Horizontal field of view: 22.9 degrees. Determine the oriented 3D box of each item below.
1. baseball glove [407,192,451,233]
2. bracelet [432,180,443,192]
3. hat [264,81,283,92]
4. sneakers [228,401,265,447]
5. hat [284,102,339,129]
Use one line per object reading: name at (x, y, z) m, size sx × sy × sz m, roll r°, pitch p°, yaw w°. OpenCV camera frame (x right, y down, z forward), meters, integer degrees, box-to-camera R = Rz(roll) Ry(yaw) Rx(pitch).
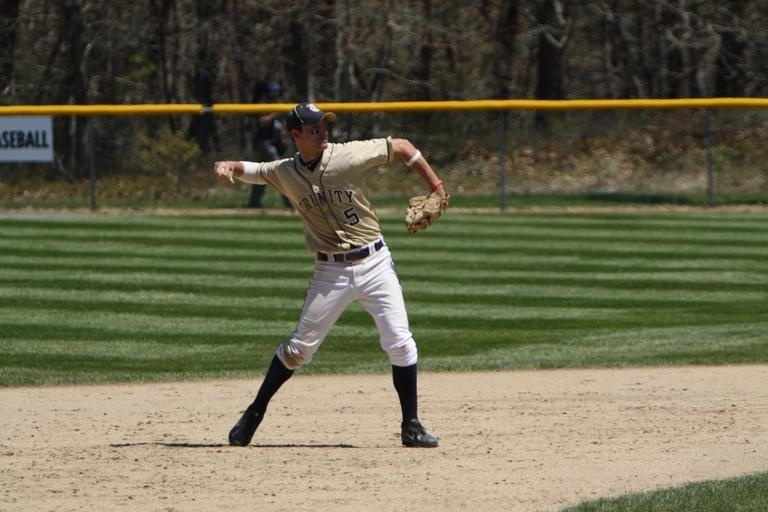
baseball glove at (0.490, -0.549, 24.000) m, size 0.446 × 0.542 × 0.248 m, roll 3°, pitch 43°, yaw -32°
bracelet at (0.678, -0.892, 24.030) m, size 0.124 × 0.054 × 0.138 m, roll -28°, pitch 19°, yaw 53°
hat at (-1.778, -2.731, 30.382) m, size 0.299 × 0.148 × 0.302 m, roll 11°, pitch 13°, yaw 41°
sneakers at (-1.764, 2.191, 24.110) m, size 0.282 × 0.686 × 0.294 m, roll 39°, pitch -2°, yaw 9°
hat at (-0.982, -1.769, 23.838) m, size 0.500 × 0.215 × 0.332 m, roll -10°, pitch 9°, yaw 13°
